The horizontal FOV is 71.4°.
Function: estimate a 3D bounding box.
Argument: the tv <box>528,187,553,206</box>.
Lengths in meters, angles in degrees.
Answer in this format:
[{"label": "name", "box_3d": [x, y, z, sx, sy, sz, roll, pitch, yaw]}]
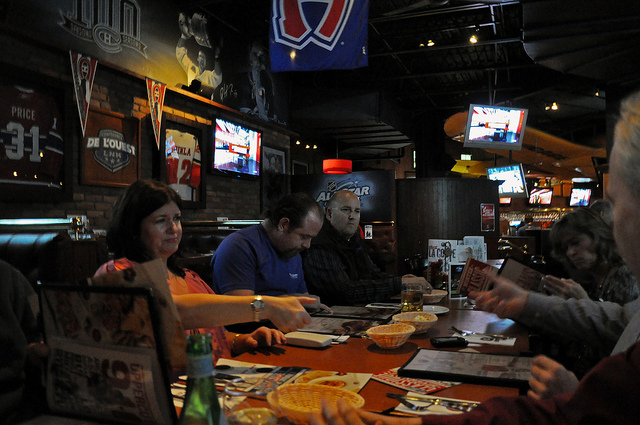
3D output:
[{"label": "tv", "box_3d": [9.117, -0.681, 18.460, 0.858, 0.789, 0.085, 2, -16, 45]}]

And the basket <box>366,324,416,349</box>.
[{"label": "basket", "box_3d": [0.335, 0.582, 2.119, 0.214, 0.070, 0.200, 2, 1, 11]}]

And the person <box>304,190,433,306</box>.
[{"label": "person", "box_3d": [0.342, 0.288, 3.575, 0.928, 0.885, 1.086, -4, 4, -29]}]

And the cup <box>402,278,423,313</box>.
[{"label": "cup", "box_3d": [0.535, 0.500, 2.610, 0.124, 0.190, 0.117, 0, -6, 0]}]

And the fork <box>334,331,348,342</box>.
[{"label": "fork", "box_3d": [0.106, 0.614, 2.230, 0.016, 0.015, 0.145, -8, 4, 19]}]

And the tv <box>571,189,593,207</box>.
[{"label": "tv", "box_3d": [10.351, -0.645, 17.746, 0.795, 0.741, 0.612, 3, -3, 19]}]

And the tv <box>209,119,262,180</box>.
[{"label": "tv", "box_3d": [-1.356, -1.069, 7.488, 1.329, 0.914, 0.127, 17, 19, 39]}]
